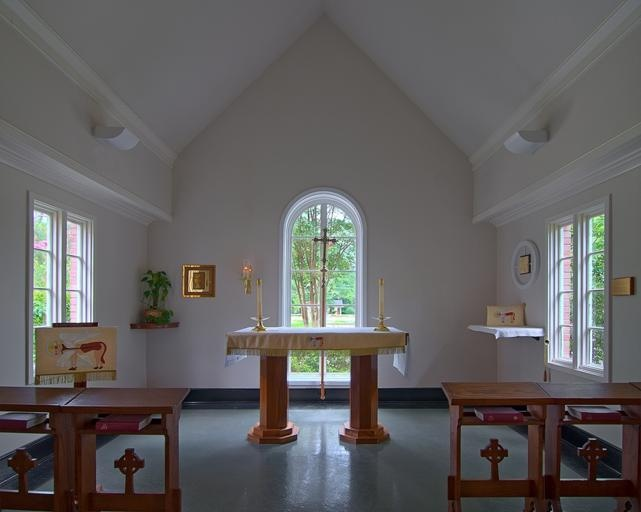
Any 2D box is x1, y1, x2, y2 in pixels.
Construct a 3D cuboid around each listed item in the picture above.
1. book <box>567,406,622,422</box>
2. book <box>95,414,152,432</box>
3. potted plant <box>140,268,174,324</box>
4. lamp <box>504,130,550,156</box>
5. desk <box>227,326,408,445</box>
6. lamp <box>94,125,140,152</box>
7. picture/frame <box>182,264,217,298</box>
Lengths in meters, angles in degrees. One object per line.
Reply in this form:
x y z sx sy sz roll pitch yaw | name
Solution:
2.076 1.177 3.561 0.349 0.083 0.282 0 0 -3 | book
-1.427 1.204 3.437 0.370 0.087 0.197 0 0 -10 | book
-2.269 0.565 6.580 0.417 0.738 0.473 0 1 -9 | potted plant
2.158 -1.223 5.015 0.384 0.247 0.323 0 0 -3 | lamp
-0.028 1.436 5.365 1.864 1.307 1.108 -1 2 0 | desk
-2.160 -1.240 5.023 0.388 0.193 0.288 0 0 11 | lamp
-1.715 0.375 6.773 0.397 0.454 0.056 0 -3 -1 | picture/frame
